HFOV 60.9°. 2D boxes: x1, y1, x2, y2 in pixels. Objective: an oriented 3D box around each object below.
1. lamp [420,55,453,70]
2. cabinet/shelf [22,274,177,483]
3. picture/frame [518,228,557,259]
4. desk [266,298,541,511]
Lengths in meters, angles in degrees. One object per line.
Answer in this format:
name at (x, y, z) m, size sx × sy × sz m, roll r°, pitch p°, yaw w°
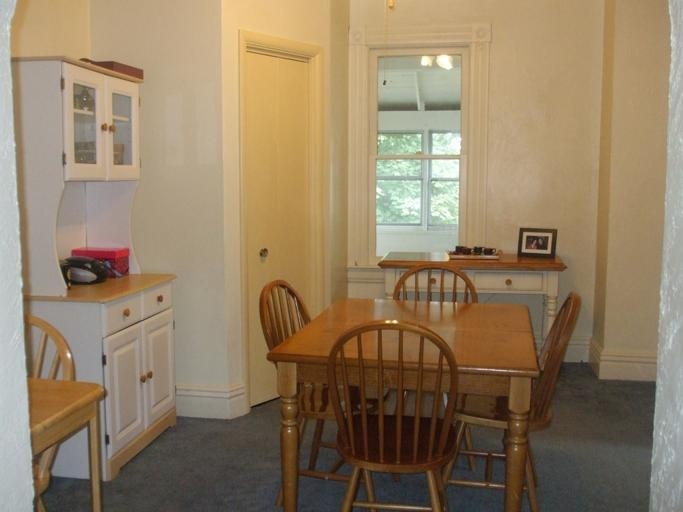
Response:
lamp at (0.800, -1.617, 4.863) m, size 0.155 × 0.062 × 0.155 m, roll -27°, pitch 51°, yaw -19°
cabinet/shelf at (-1.165, 0.592, 2.811) m, size 0.437 × 0.971 × 0.941 m, roll 0°, pitch 8°, yaw 6°
picture/frame at (1.511, -0.090, 4.525) m, size 0.207 × 0.209 × 0.016 m, roll 4°, pitch -9°, yaw 31°
desk at (0.393, 0.461, 2.842) m, size 0.907 × 0.702 × 1.118 m, roll 1°, pitch 6°, yaw 11°
